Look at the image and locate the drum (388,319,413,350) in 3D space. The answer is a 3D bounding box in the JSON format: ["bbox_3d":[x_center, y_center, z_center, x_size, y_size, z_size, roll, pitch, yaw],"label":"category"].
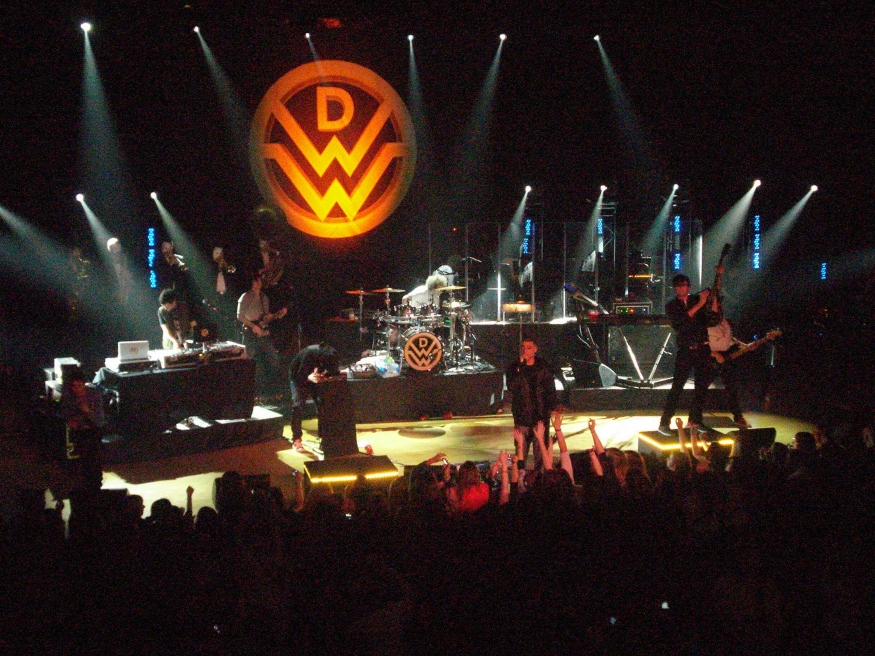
[{"bbox_3d":[-0.581,0.089,10.147,0.430,0.329,0.496,3,27,-3],"label":"drum"}]

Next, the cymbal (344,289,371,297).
[{"bbox_3d":[-1.201,-0.525,10.351,0.245,0.060,0.250,2,-2,-4],"label":"cymbal"}]

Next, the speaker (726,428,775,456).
[{"bbox_3d":[2.875,1.053,6.369,0.240,0.231,0.167,0,-4,-20],"label":"speaker"}]

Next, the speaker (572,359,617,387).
[{"bbox_3d":[2.372,0.684,10.546,0.687,0.369,0.405,5,12,9],"label":"speaker"}]

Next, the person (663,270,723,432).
[{"bbox_3d":[2.992,0.321,8.301,0.623,1.905,0.472,4,11,4],"label":"person"}]
